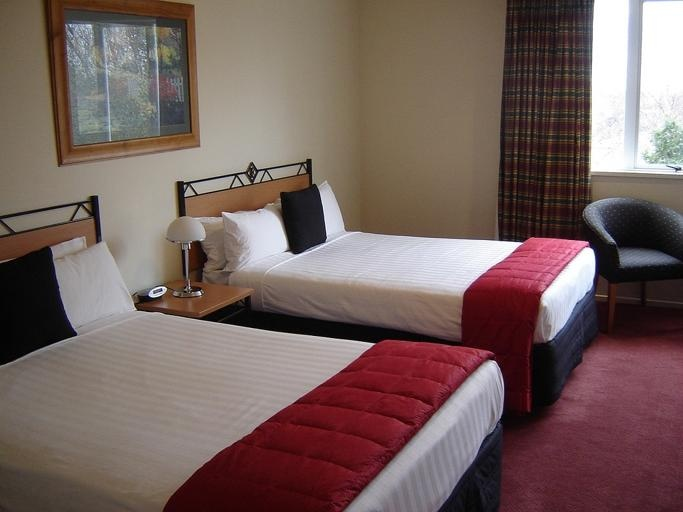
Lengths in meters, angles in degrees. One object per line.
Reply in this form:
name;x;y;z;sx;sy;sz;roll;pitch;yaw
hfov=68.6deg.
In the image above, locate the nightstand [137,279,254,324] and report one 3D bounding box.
nightstand;-1.114;0.348;3.882;0.433;0.353;0.455;8;16;28
